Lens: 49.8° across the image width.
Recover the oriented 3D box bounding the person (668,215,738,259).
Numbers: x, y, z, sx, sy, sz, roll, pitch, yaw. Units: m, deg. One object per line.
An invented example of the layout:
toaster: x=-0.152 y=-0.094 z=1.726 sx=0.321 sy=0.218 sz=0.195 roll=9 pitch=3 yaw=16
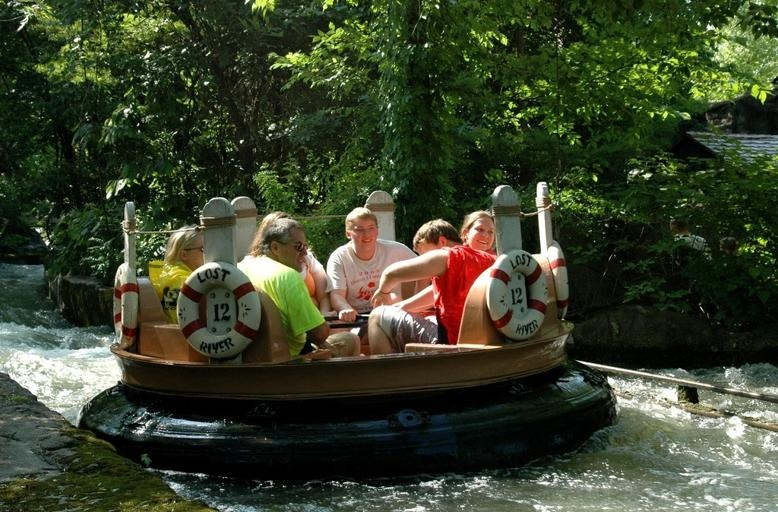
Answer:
person: x=5.152 y=-0.313 z=13.794 sx=1.016 sy=0.668 sz=0.688 roll=-2 pitch=-4 yaw=21

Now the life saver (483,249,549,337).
life saver: x=1.386 y=0.413 z=8.958 sx=0.227 sy=0.847 sz=0.806 roll=-5 pitch=5 yaw=43

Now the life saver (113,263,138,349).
life saver: x=-2.952 y=0.575 z=9.380 sx=0.208 sy=0.781 sz=0.763 roll=-1 pitch=34 yaw=-17
